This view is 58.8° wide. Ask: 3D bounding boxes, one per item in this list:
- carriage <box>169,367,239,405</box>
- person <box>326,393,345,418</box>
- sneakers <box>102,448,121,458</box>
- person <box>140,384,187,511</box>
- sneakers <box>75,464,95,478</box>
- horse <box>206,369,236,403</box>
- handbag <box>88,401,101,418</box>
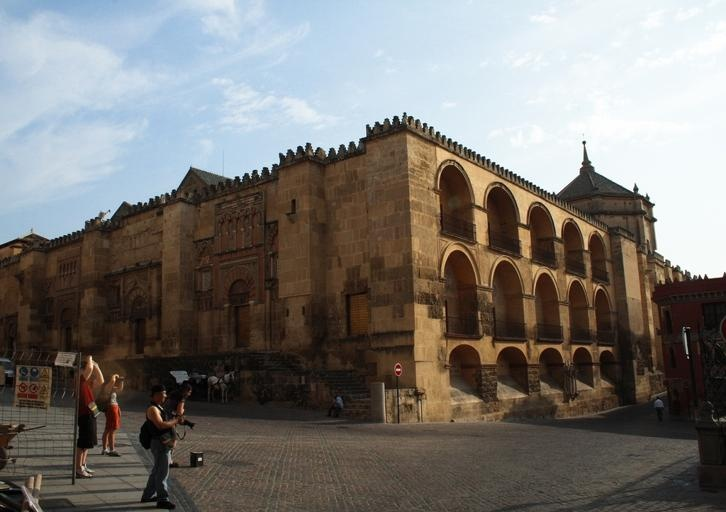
[{"bbox_3d":[-7.572,5.965,29.824,2.865,1.100,0.655,8,-5,-11],"label":"carriage"},{"bbox_3d":[-1.044,6.037,25.789,0.744,1.199,0.787,7,-19,-10],"label":"person"},{"bbox_3d":[-6.123,4.815,15.724,0.525,0.210,0.195,2,-12,10],"label":"sneakers"},{"bbox_3d":[-3.972,3.716,12.596,0.780,2.257,0.783,5,-7,-15],"label":"person"},{"bbox_3d":[-5.954,4.608,13.741,0.313,0.116,0.213,7,-1,4],"label":"sneakers"},{"bbox_3d":[-6.398,5.820,28.777,1.698,1.178,0.548,-7,-8,27],"label":"horse"},{"bbox_3d":[-5.773,3.303,13.778,0.082,0.293,0.317,-7,1,-6],"label":"handbag"}]
